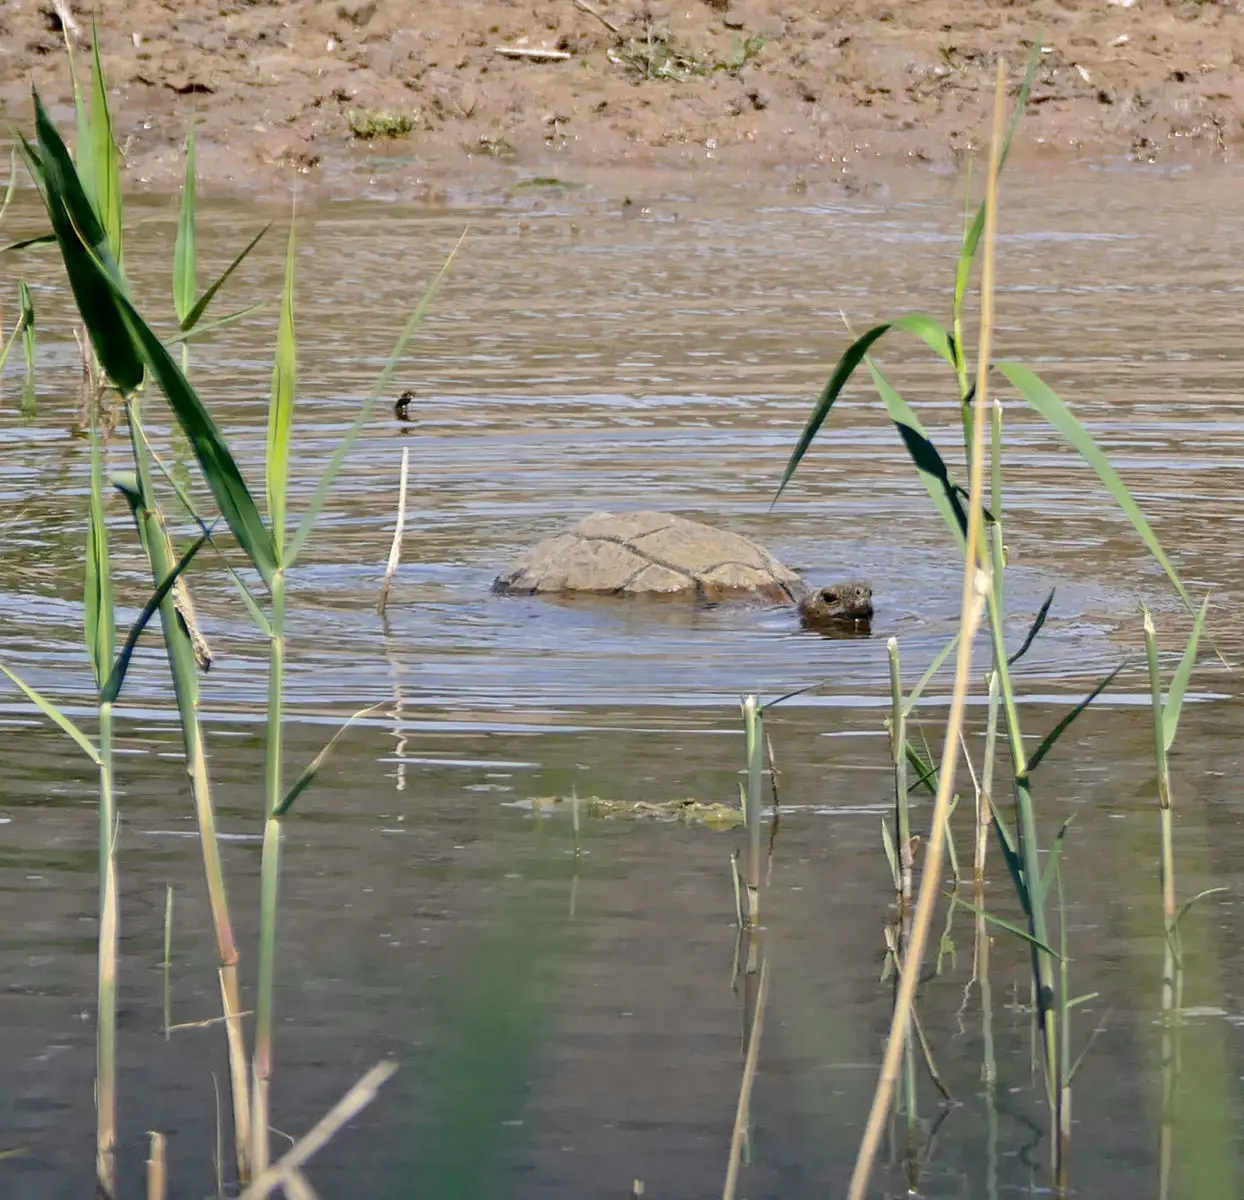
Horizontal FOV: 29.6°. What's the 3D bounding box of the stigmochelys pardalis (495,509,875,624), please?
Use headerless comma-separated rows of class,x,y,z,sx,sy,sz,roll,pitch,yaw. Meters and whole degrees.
stigmochelys pardalis,0.188,-0.163,10.925,1.317,0.224,0.705,4,3,16
